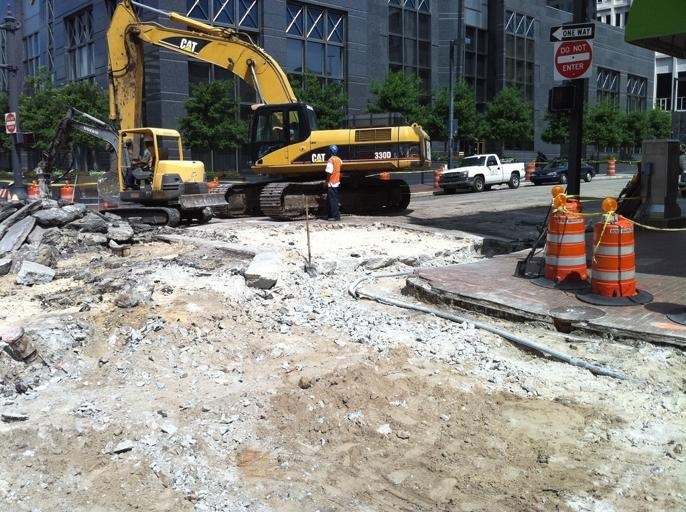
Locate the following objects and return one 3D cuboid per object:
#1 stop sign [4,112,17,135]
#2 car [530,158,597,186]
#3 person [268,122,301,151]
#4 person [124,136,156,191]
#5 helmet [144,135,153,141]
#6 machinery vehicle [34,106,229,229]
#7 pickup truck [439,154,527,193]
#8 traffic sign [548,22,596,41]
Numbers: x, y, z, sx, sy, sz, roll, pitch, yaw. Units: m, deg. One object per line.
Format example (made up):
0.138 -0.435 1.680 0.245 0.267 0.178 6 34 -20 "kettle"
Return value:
-12.966 -5.229 19.295 0.379 0.875 0.685 -6 12 -32 "stop sign"
14.936 -5.644 33.311 4.447 1.712 2.119 -5 11 -29 "car"
-1.927 -3.996 16.411 0.916 0.808 0.842 0 20 4 "person"
-6.426 -2.958 15.555 0.784 1.655 1.156 -6 12 -35 "person"
-6.149 -3.749 15.564 0.271 0.165 0.144 6 13 23 "helmet"
-7.401 -3.118 16.408 6.320 3.591 2.371 1 12 13 "machinery vehicle"
8.157 -4.896 30.131 5.521 1.821 2.604 -8 9 -41 "pickup truck"
4.431 -4.385 9.517 0.785 0.373 0.433 6 11 29 "traffic sign"
